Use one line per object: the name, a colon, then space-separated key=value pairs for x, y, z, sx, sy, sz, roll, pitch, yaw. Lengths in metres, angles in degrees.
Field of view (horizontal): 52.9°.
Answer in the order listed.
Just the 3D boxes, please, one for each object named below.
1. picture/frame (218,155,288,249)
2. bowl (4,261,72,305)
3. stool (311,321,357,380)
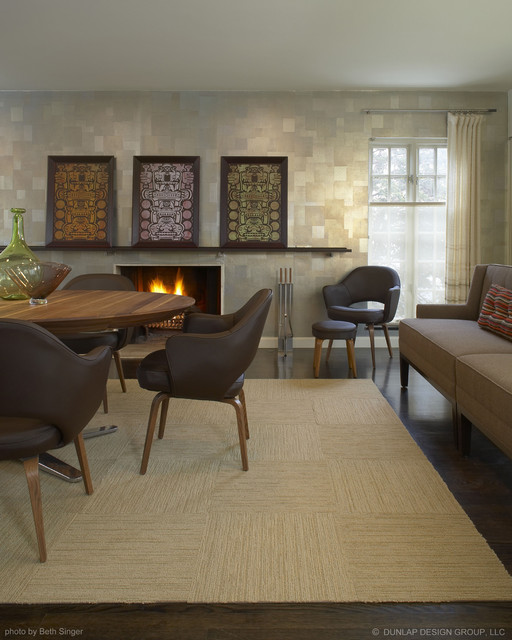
picture/frame: x=-0.023 y=-1.122 z=4.880 sx=0.604 sy=0.825 sz=0.245 roll=-2 pitch=13 yaw=-11
bowl: x=-1.011 y=-0.195 z=2.414 sx=0.274 sy=0.141 sz=0.234 roll=2 pitch=6 yaw=14
stool: x=0.576 y=0.202 z=4.032 sx=0.435 sy=0.429 sz=0.406 roll=0 pitch=-1 yaw=2
